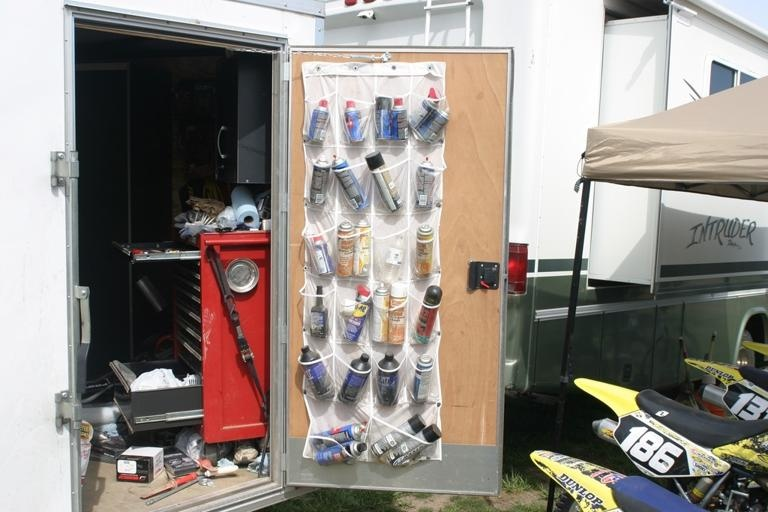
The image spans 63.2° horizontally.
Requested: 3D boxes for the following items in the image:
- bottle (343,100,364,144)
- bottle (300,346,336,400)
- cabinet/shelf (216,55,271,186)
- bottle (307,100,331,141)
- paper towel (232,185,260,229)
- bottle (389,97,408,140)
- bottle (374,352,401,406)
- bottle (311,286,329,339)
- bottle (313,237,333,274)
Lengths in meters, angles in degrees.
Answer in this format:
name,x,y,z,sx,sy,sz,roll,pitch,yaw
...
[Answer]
name,x,y,z,sx,sy,sz,roll,pitch,yaw
bottle,-0.217,-0.955,4.455,0.144,0.296,0.077,-3,10,-3
bottle,-0.497,0.845,4.543,0.238,0.424,0.113,-3,10,-6
cabinet/shelf,-1.134,-1.106,5.063,0.373,1.017,1.006,1,1,-10
bottle,-0.482,-0.963,4.458,0.175,0.298,0.077,-4,10,-7
paper towel,-1.158,-0.317,5.153,0.144,0.160,0.349,20,1,-24
bottle,0.101,-0.975,4.443,0.121,0.291,0.067,-8,11,-31
bottle,0.030,0.886,4.560,0.159,0.422,0.172,0,31,0
bottle,-0.477,0.407,4.531,0.131,0.387,0.081,-4,10,-9
bottle,-0.458,-0.036,4.504,0.116,0.342,0.100,-14,29,-5
